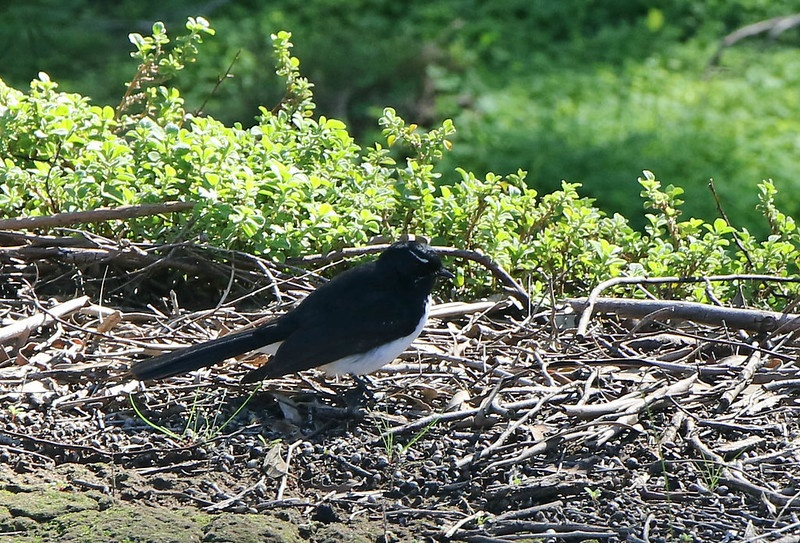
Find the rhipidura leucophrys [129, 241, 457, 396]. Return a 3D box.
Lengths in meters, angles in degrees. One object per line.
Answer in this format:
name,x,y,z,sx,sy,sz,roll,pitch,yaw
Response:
rhipidura leucophrys,-0.479,0.263,5.626,1.827,0.595,0.488,-13,18,-35
